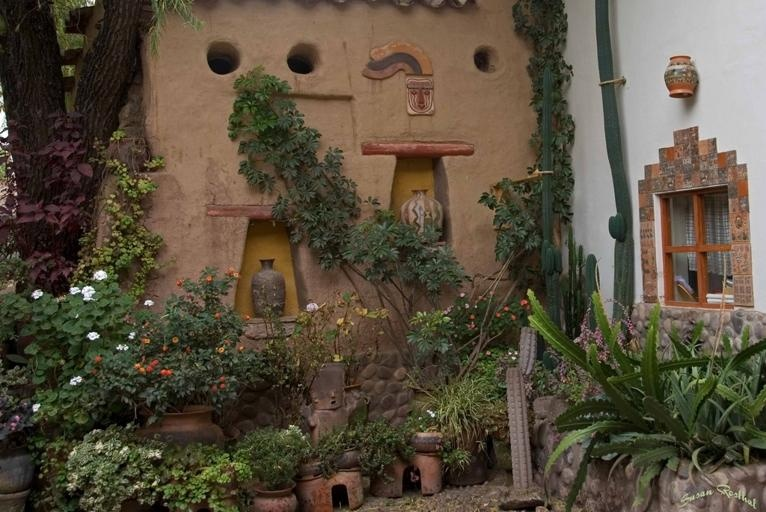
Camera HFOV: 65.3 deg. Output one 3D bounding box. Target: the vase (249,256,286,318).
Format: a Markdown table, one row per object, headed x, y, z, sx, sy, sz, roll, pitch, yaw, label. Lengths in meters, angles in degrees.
| x | y | z | sx | sy | sz | roll | pitch | yaw | label |
| --- | --- | --- | --- | --- | --- | --- | --- | --- | --- |
| -1.321 | 0.398 | 6.884 | 0.397 | 0.724 | 0.410 | -5 | -5 | 25 | vase |

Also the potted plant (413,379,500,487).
| x | y | z | sx | sy | sz | roll | pitch | yaw | label |
| --- | --- | --- | --- | --- | --- | --- | --- | --- | --- |
| 0.799 | 1.823 | 6.204 | 0.959 | 1.038 | 0.471 | -4 | -9 | 3 | potted plant |

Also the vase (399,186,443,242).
| x | y | z | sx | sy | sz | roll | pitch | yaw | label |
| --- | --- | --- | --- | --- | --- | --- | --- | --- | --- |
| 0.474 | -0.503 | 7.069 | 0.532 | 0.631 | 0.440 | -2 | -9 | -6 | vase |

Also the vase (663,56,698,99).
| x | y | z | sx | sy | sz | roll | pitch | yaw | label |
| --- | --- | --- | --- | --- | --- | --- | --- | --- | --- |
| 2.813 | -1.693 | 5.697 | 0.296 | 0.373 | 0.307 | 1 | -1 | 27 | vase |

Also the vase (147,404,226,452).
| x | y | z | sx | sy | sz | roll | pitch | yaw | label |
| --- | --- | --- | --- | --- | --- | --- | --- | --- | --- |
| -1.799 | 1.602 | 5.553 | 0.421 | 0.372 | 0.438 | 2 | -5 | -40 | vase |
